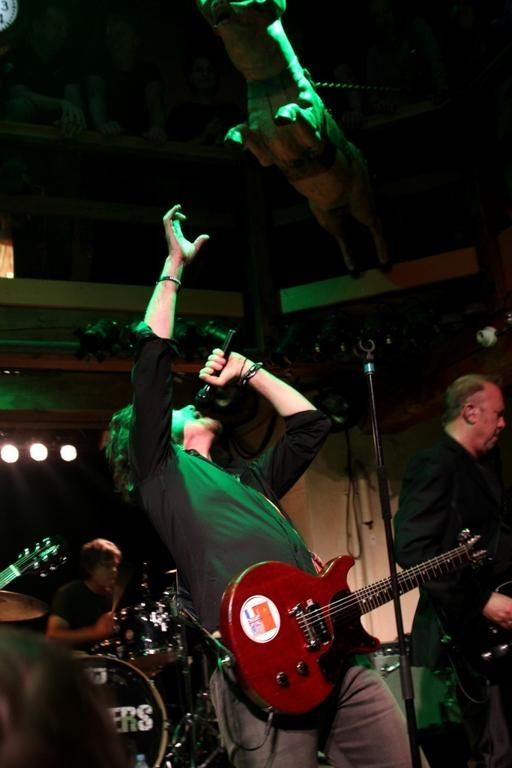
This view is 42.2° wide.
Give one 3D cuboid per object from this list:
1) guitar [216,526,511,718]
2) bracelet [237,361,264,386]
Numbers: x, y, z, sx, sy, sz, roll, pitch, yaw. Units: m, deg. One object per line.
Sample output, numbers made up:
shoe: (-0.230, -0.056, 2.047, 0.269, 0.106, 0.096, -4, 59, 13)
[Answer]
guitar: (0.332, 0.680, 2.036, 1.001, 0.365, 0.121, -14, -15, -40)
bracelet: (-0.022, -0.043, 2.588, 0.094, 0.024, 0.069, -38, -4, -6)
